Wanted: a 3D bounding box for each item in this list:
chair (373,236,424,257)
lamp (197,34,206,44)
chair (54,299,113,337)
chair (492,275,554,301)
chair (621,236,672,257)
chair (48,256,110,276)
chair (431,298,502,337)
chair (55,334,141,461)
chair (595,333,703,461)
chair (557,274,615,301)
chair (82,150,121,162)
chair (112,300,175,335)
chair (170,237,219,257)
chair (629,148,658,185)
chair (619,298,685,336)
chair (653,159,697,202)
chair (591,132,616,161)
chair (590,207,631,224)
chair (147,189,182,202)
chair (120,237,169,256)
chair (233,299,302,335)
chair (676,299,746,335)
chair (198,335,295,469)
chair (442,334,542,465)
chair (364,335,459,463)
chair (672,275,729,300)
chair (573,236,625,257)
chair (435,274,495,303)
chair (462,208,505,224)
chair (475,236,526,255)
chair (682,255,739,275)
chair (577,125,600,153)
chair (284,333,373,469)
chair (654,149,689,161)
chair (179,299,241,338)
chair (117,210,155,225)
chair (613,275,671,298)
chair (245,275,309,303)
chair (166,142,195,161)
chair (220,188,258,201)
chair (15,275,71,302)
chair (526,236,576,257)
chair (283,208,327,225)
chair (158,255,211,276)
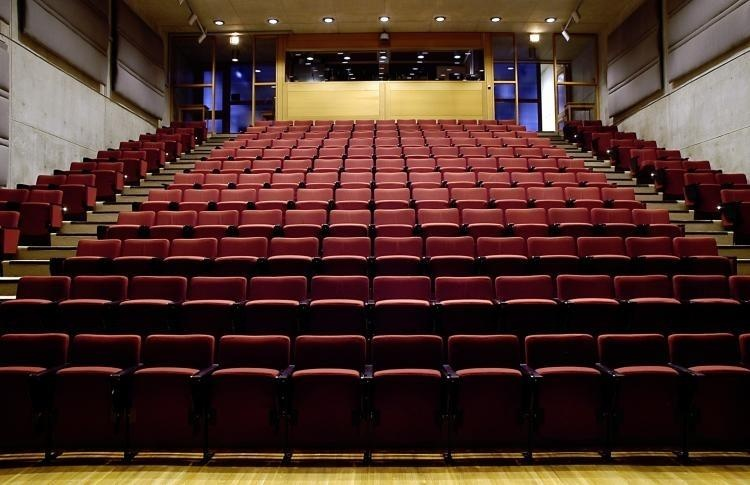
[{"bbox_3d":[0.178,0.039,3.934,0.368,0.128,0.268,2,19,0],"label":"chair"},{"bbox_3d":[-2.499,-2.928,7.827,0.127,0.117,1.473,-4,20,-16],"label":"lamp"},{"bbox_3d":[-1.805,0.459,3.387,0.376,0.259,0.204,-1,4,2],"label":"chair"},{"bbox_3d":[0.979,0.295,3.547,0.241,0.205,0.200,1,-19,1],"label":"chair"},{"bbox_3d":[2.029,0.044,3.921,0.348,0.122,0.236,-2,20,-11],"label":"chair"},{"bbox_3d":[-2.056,0.169,3.758,0.190,0.216,0.256,0,-9,9],"label":"chair"},{"bbox_3d":[0.572,0.367,3.306,0.378,0.321,0.206,0,4,3],"label":"chair"},{"bbox_3d":[-1.435,0.845,3.188,0.486,0.686,0.568,0,-6,-2],"label":"chair"},{"bbox_3d":[1.427,0.878,3.279,0.558,0.785,0.547,-1,-11,4],"label":"chair"},{"bbox_3d":[1.385,0.299,3.569,0.219,0.244,0.223,1,-18,3],"label":"chair"},{"bbox_3d":[-3.014,-0.949,5.962,0.212,0.143,0.115,-1,-15,3],"label":"chair"},{"bbox_3d":[-1.435,0.456,3.366,0.364,0.251,0.197,1,4,3],"label":"chair"},{"bbox_3d":[-1.306,0.037,3.925,0.198,0.170,0.173,1,-24,-2],"label":"chair"},{"bbox_3d":[2.779,-0.808,5.641,0.304,0.415,0.395,1,-3,8],"label":"chair"},{"bbox_3d":[1.756,0.456,3.422,0.379,0.265,0.203,0,-9,1],"label":"chair"},{"bbox_3d":[2.856,-0.600,5.324,0.344,0.463,0.439,0,-5,8],"label":"chair"},{"bbox_3d":[2.634,-1.141,6.398,0.254,0.332,0.300,0,0,10],"label":"chair"},{"bbox_3d":[1.913,-0.210,4.354,0.190,0.179,0.166,0,-13,8],"label":"chair"},{"bbox_3d":[-1.876,-0.420,4.863,0.169,0.132,0.167,2,15,-6],"label":"chair"},{"bbox_3d":[-1.691,0.052,3.917,0.367,0.121,0.160,2,19,1],"label":"chair"},{"bbox_3d":[-0.658,0.374,3.254,0.374,0.253,0.209,2,2,7],"label":"chair"},{"bbox_3d":[2.114,0.455,3.389,0.391,0.262,0.201,1,-7,5],"label":"chair"},{"bbox_3d":[-0.717,0.864,3.088,0.439,0.562,0.376,0,19,-4],"label":"chair"},{"bbox_3d":[0.621,0.852,3.067,0.577,0.783,0.578,0,-11,3],"label":"chair"},{"bbox_3d":[0.192,0.847,3.080,0.431,0.539,0.335,1,19,-1],"label":"chair"},{"bbox_3d":[2.163,0.297,3.567,0.345,0.143,0.209,-4,20,-15],"label":"chair"},{"bbox_3d":[1.650,0.032,3.882,0.226,0.151,0.166,0,-23,5],"label":"chair"},{"bbox_3d":[0.584,0.302,3.544,0.238,0.204,0.199,0,-24,2],"label":"chair"},{"bbox_3d":[0.888,-0.201,4.325,0.361,0.102,0.167,-1,19,-9],"label":"chair"},{"bbox_3d":[0.917,0.025,3.960,0.338,0.122,0.130,4,19,6],"label":"chair"},{"bbox_3d":[2.325,0.159,3.766,0.221,0.179,0.178,-1,-16,9],"label":"chair"},{"bbox_3d":[2.590,-1.294,6.662,0.283,0.377,0.362,0,-2,1],"label":"chair"},{"bbox_3d":[-0.265,0.860,3.076,0.447,0.564,0.370,1,19,-2],"label":"chair"},{"bbox_3d":[3.159,-0.928,5.770,0.236,0.160,0.119,0,-2,-8],"label":"chair"},{"bbox_3d":[-1.032,0.466,3.355,0.369,0.265,0.210,2,2,6],"label":"chair"},{"bbox_3d":[-1.935,-0.196,4.395,0.159,0.168,0.173,2,-13,-4],"label":"chair"},{"bbox_3d":[1.774,0.323,3.637,0.216,0.206,0.199,1,-16,4],"label":"chair"},{"bbox_3d":[-0.623,0.294,3.637,0.224,0.192,0.211,1,-19,-1],"label":"chair"},{"bbox_3d":[-2.374,-1.107,6.479,0.189,0.218,0.407,2,19,2],"label":"chair"},{"bbox_3d":[-1.219,-0.423,4.814,0.321,0.103,0.178,-1,19,-8],"label":"chair"},{"bbox_3d":[-2.182,0.320,3.613,0.196,0.265,0.226,4,-17,-7],"label":"chair"},{"bbox_3d":[1.321,0.048,3.903,0.395,0.133,0.245,-1,19,-8],"label":"chair"},{"bbox_3d":[-0.559,-0.197,4.388,0.352,0.126,0.190,-2,19,-11],"label":"chair"},{"bbox_3d":[-1.317,0.161,3.749,0.161,0.122,0.212,6,18,29],"label":"chair"}]
